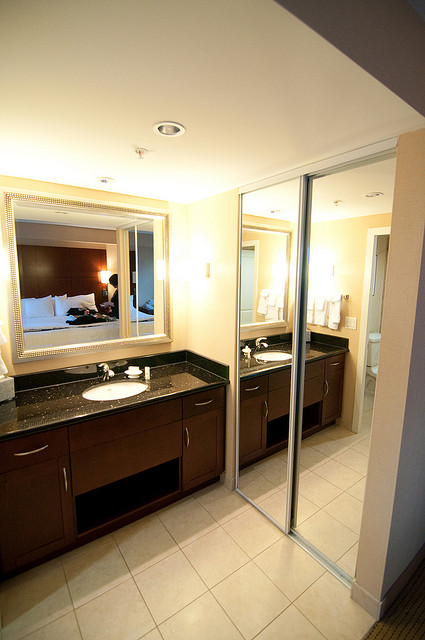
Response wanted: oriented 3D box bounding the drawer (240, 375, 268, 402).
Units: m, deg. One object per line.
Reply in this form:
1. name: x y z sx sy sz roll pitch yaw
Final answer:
1. drawer: 0.244 0.396 2.608 0.145 0.097 0.152 -8 12 -22

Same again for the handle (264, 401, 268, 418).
1. handle: 0.318 0.523 2.597 0.008 0.097 0.017 -12 16 -43

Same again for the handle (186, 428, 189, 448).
1. handle: -0.146 0.680 2.577 0.006 0.114 0.025 6 13 26

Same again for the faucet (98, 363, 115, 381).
1. faucet: -0.621 0.305 2.590 0.046 0.105 0.196 0 7 -27

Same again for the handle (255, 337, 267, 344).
1. handle: 0.276 0.116 2.487 0.013 0.049 0.073 -10 16 -40

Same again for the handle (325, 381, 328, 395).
1. handle: 0.575 0.340 2.217 0.014 0.076 0.016 -11 16 -41

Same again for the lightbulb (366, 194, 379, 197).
1. lightbulb: 0.681 -0.530 1.874 0.009 0.011 0.041 -5 16 -24

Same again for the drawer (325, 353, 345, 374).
1. drawer: 0.584 0.204 2.104 0.080 0.052 0.078 -18 20 -31

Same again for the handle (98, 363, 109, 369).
1. handle: -0.640 0.267 2.612 0.036 0.037 0.036 14 18 42

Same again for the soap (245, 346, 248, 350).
1. soap: 0.198 0.162 2.563 0.013 0.024 0.023 -12 18 -42

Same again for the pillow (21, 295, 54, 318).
1. pillow: -0.969 -0.076 2.411 0.032 0.080 0.118 3 7 41

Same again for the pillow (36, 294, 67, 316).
1. pillow: -0.913 -0.086 2.468 0.032 0.114 0.095 6 7 33
